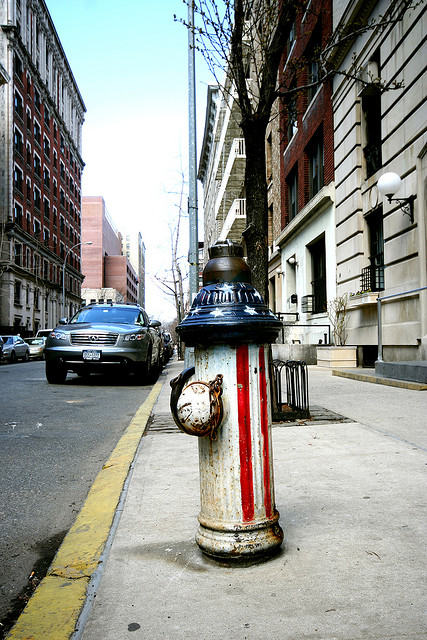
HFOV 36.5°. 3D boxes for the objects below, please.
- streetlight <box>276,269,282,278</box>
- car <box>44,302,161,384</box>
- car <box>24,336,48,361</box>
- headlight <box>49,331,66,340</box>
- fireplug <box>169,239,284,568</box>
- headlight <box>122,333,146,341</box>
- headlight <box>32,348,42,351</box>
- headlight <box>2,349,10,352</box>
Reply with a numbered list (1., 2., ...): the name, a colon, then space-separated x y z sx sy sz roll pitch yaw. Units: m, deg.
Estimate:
1. streetlight: 2.705 -2.000 27.067 0.234 0.528 0.255 1 2 -15
2. car: -1.921 0.301 12.194 1.084 1.090 2.529 -2 -9 3
3. car: -8.762 1.429 31.768 0.955 1.076 2.300 0 -9 0
4. headlight: -2.725 0.264 11.294 0.110 0.160 0.521 1 -4 -36
5. fireplug: 0.076 0.321 2.723 0.475 1.232 0.500 3 0 -11
6. headlight: -1.387 0.292 11.379 0.133 0.139 0.598 -3 -3 25
7. headlight: -9.471 1.559 34.566 0.388 0.137 0.174 0 -3 -18
8. headlight: -9.715 1.422 30.263 0.158 0.121 0.366 -1 -3 2
